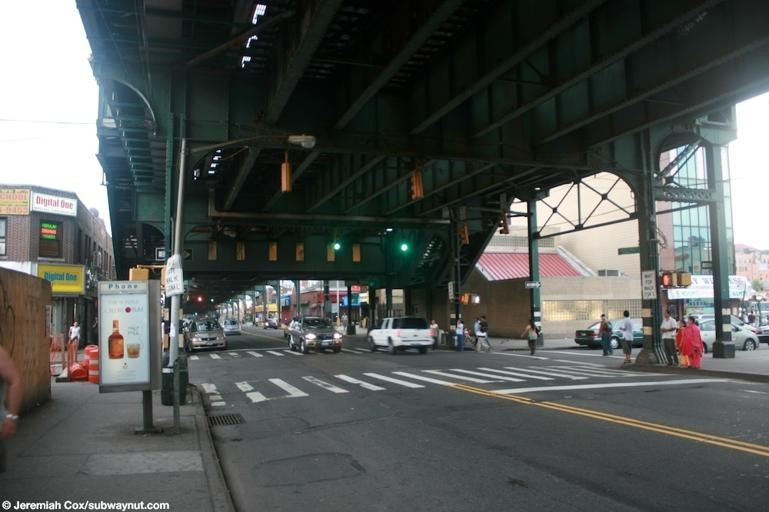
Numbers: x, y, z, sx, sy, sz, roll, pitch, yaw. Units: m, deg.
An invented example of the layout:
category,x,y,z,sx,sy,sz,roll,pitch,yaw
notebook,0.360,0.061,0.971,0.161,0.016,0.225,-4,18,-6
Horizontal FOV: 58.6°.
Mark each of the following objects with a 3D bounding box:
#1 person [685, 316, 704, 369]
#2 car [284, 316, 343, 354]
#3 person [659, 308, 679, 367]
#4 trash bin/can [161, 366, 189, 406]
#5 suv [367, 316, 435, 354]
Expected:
category,x,y,z,sx,sy,sz,roll,pitch,yaw
person,12.429,3.482,27.585,0.611,2.035,1.096,-4,-7,24
car,-4.004,4.613,40.177,2.551,2.171,3.346,0,-7,-11
person,11.836,3.404,28.423,0.635,2.248,1.301,-4,-7,23
trash bin/can,-6.385,3.983,20.802,0.714,1.122,1.549,0,-7,-18
suv,0.795,4.336,38.110,1.615,1.438,3.620,4,-5,-22
